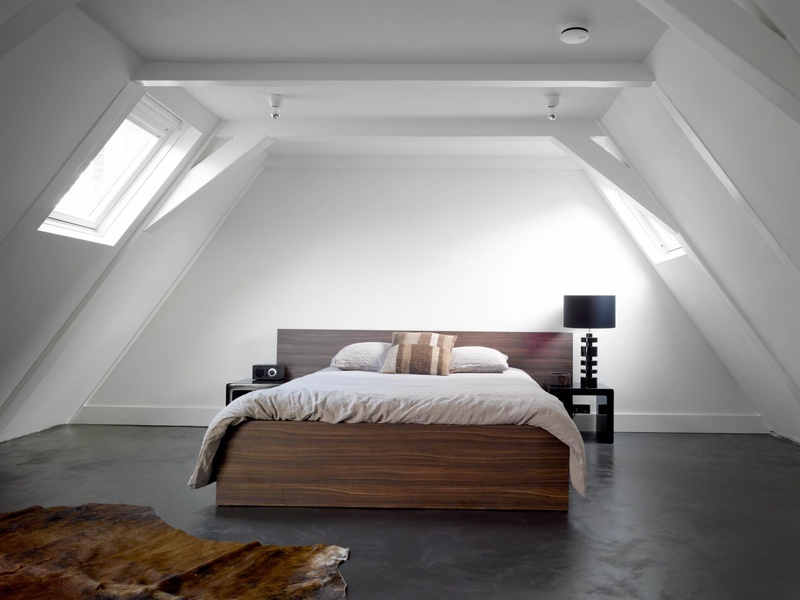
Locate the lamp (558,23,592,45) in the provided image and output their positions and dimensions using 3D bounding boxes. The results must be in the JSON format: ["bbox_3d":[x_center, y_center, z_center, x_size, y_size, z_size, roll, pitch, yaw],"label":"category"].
[{"bbox_3d":[1.135,-1.697,3.865,0.190,0.054,0.255,1,-6,17],"label":"lamp"}]

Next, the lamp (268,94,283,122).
[{"bbox_3d":[-1.033,-1.575,4.875,0.168,0.222,0.154,-1,8,-12],"label":"lamp"}]

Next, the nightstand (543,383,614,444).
[{"bbox_3d":[1.778,1.075,5.866,0.640,0.559,0.556,-1,7,3],"label":"nightstand"}]

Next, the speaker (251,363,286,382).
[{"bbox_3d":[-1.336,0.738,6.009,0.289,0.124,0.185,0,-8,-8],"label":"speaker"}]

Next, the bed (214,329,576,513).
[{"bbox_3d":[-0.075,0.839,5.091,2.957,1.380,2.592,2,-7,14],"label":"bed"}]
